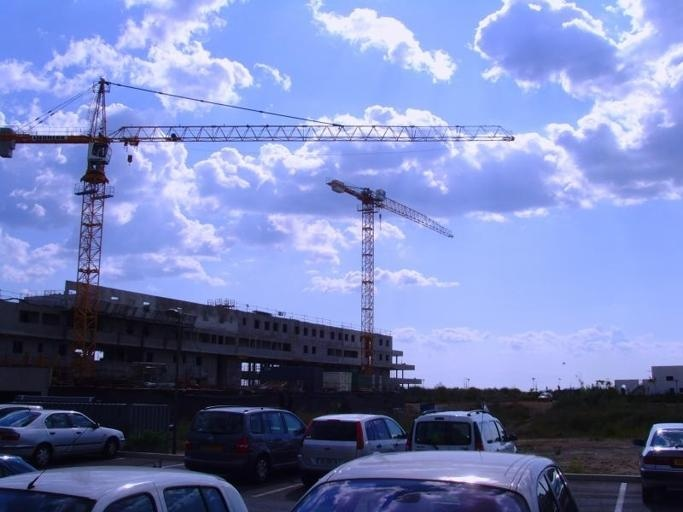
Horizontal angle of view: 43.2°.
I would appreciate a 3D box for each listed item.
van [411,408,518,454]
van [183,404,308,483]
[{"bbox_3d":[3.363,4.767,23.643,2.987,1.073,1.466,5,-14,-22],"label":"van"},{"bbox_3d":[-2.773,5.566,25.837,1.925,2.072,4.951,-2,-8,19],"label":"van"}]
